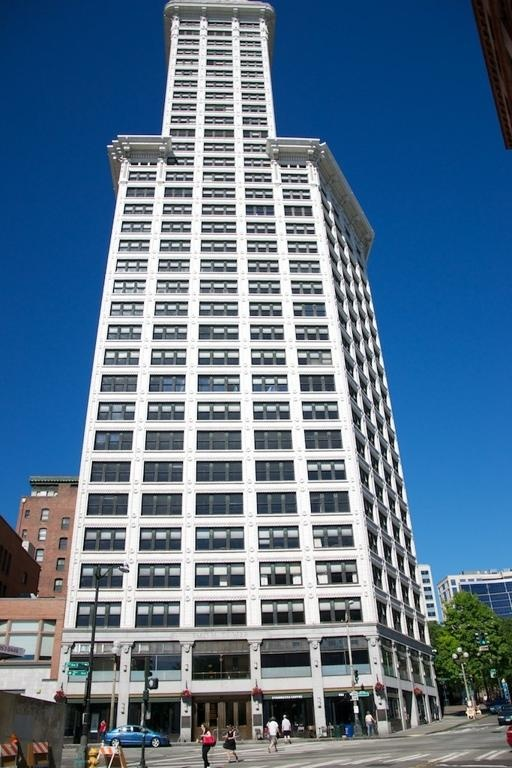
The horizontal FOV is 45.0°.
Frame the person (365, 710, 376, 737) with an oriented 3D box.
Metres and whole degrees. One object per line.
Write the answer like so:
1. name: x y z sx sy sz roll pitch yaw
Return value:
1. person: 8.180 24.414 44.303 0.699 1.443 3.196 -7 -31 7
